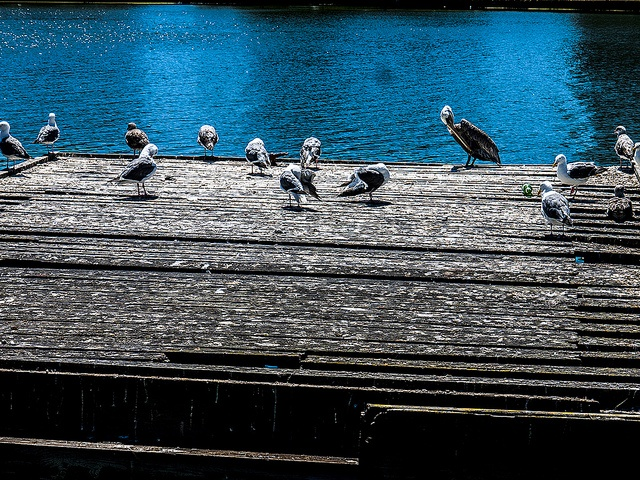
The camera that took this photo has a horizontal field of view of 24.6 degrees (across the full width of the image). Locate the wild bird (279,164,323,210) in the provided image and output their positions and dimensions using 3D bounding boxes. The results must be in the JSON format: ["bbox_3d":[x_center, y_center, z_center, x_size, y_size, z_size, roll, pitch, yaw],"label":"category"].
[{"bbox_3d":[-0.824,-2.003,57.535,1.353,1.561,1.374,-14,44,-17],"label":"wild bird"}]
